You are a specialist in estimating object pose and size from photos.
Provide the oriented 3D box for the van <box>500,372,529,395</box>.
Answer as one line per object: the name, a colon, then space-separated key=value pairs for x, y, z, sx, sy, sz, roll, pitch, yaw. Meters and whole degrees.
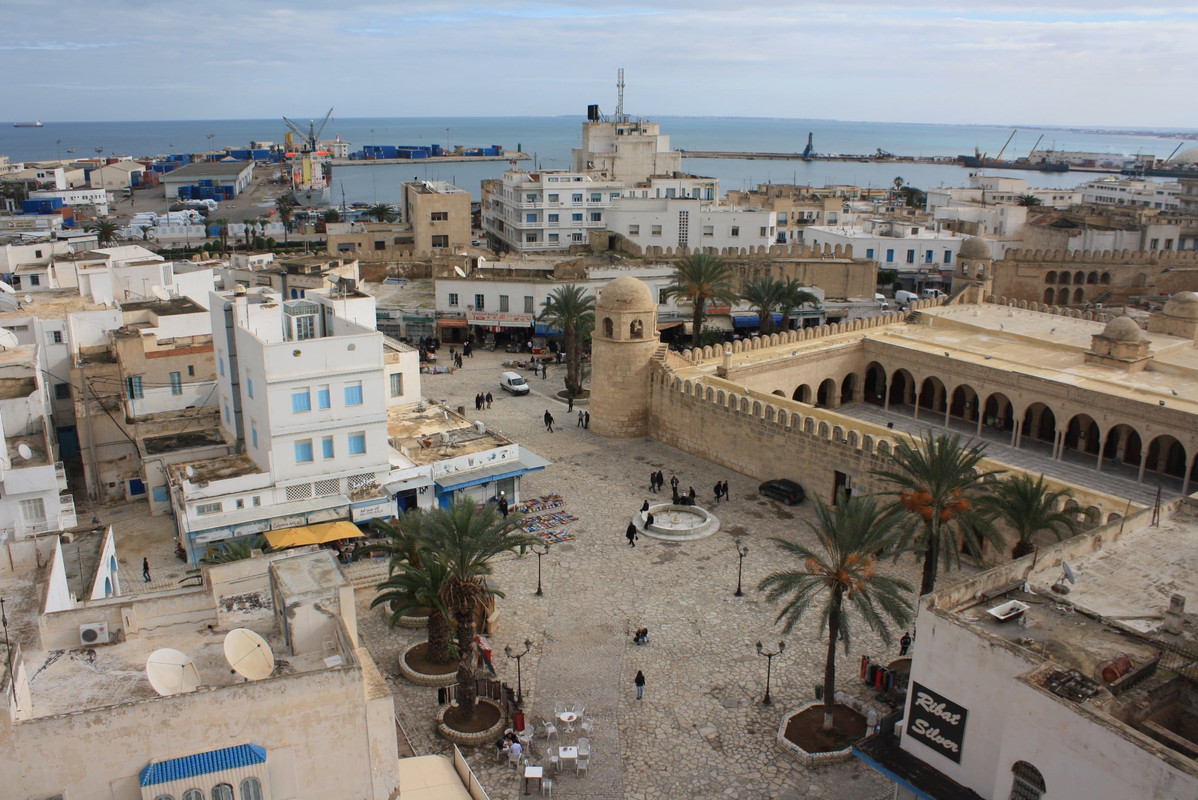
van: x=-4.989 y=-0.917 z=54.401 sx=1.093 sy=0.747 sz=1.758 roll=-9 pitch=14 yaw=-22

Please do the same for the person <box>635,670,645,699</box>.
person: x=1.307 y=8.884 z=29.093 sx=0.298 sy=0.851 sz=0.546 roll=-2 pitch=20 yaw=0

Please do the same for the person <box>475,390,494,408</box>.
person: x=-6.481 y=-0.005 z=52.242 sx=0.901 sy=0.883 sz=0.420 roll=4 pitch=37 yaw=-14
